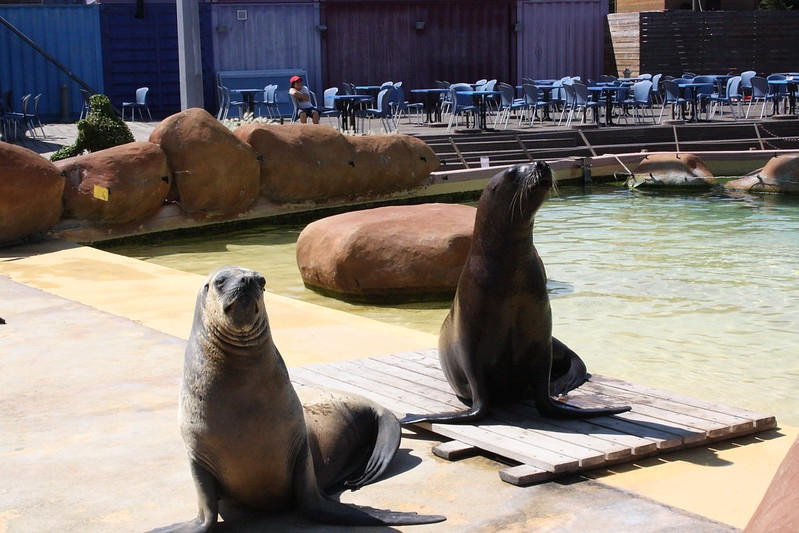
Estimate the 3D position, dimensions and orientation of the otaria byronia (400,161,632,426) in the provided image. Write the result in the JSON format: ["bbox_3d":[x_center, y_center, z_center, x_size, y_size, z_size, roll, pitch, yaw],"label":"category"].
[{"bbox_3d":[0.646,0.157,5.733,1.028,1.632,0.497,-1,9,8],"label":"otaria byronia"}]

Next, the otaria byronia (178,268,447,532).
[{"bbox_3d":[-0.505,0.827,5.015,1.621,1.005,1.476,-5,-13,9],"label":"otaria byronia"}]
